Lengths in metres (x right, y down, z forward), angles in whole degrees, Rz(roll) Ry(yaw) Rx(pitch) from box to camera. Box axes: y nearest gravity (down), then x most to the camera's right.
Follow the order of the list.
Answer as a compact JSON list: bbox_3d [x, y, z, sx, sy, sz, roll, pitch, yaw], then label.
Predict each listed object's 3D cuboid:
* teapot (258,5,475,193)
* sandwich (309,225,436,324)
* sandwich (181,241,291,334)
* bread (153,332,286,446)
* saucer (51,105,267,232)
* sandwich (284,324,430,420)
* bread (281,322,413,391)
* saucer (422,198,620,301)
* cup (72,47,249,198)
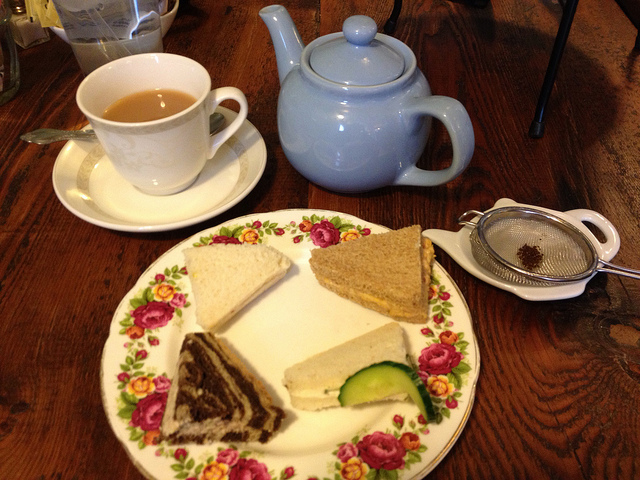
[{"bbox_3d":[0.091,-0.267,1.217,0.433,0.399,0.447,-13,40,-35],"label":"teapot"},{"bbox_3d":[0.133,0.061,1.111,0.195,0.059,0.209,20,50,26],"label":"sandwich"},{"bbox_3d":[-0.180,0.086,1.123,0.190,0.048,0.178,-32,58,-11],"label":"sandwich"},{"bbox_3d":[-0.178,0.271,0.975,0.226,0.064,0.210,2,67,-3],"label":"bread"},{"bbox_3d":[-0.390,-0.261,1.226,0.448,0.280,0.377,-14,33,-22],"label":"saucer"},{"bbox_3d":[0.055,0.254,0.996,0.185,0.056,0.166,-23,53,12],"label":"sandwich"},{"bbox_3d":[0.056,0.230,1.018,0.210,0.049,0.111,-25,40,2],"label":"bread"},{"bbox_3d":[0.444,0.001,1.135,0.305,0.059,0.346,-23,42,-25],"label":"saucer"},{"bbox_3d":[-0.355,-0.253,1.245,0.325,0.271,0.304,2,44,-2],"label":"cup"}]
